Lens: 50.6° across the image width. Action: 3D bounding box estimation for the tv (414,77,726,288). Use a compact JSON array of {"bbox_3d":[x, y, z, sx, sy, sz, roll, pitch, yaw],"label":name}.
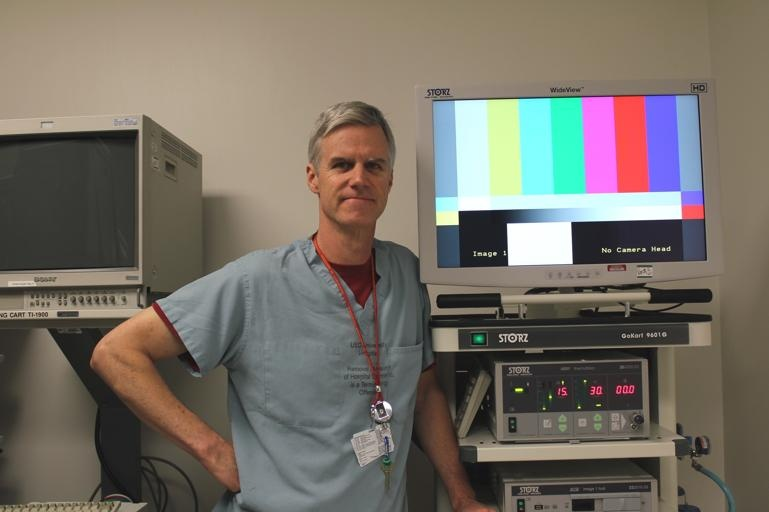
[{"bbox_3d":[0.705,-0.259,3.122,1.125,0.807,0.094,-1,5,1],"label":"tv"}]
